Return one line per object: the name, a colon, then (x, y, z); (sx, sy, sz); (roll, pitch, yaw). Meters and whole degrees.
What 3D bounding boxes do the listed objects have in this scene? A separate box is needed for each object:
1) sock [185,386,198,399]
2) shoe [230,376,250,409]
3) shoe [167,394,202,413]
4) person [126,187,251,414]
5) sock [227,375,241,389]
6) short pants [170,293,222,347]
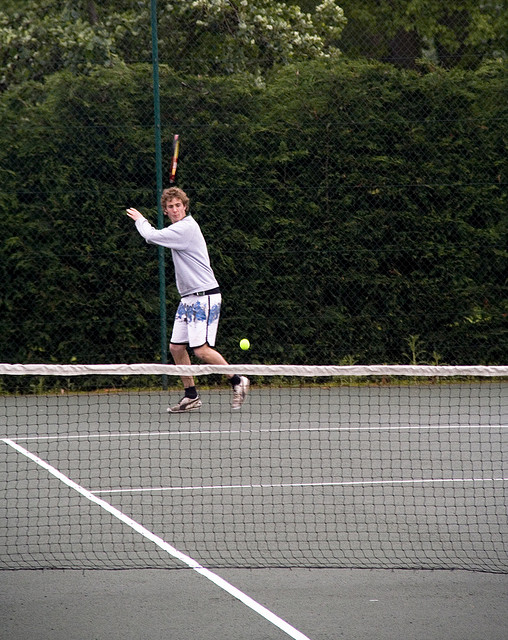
sock: (-0.534, 0.597, 9.061); (0.094, 0.113, 0.167); (-1, 8, -5)
shoe: (-0.136, 0.596, 8.844); (0.148, 0.314, 0.107); (5, 2, -40)
shoe: (-0.574, 0.703, 9.063); (0.327, 0.136, 0.117); (-5, 0, 4)
person: (-0.520, -0.109, 8.785); (0.931, 1.904, 0.851); (0, 9, 0)
sock: (-0.162, 0.496, 8.808); (0.087, 0.081, 0.076); (0, 0, -14)
short pants: (-0.485, -0.001, 8.951); (0.311, 0.517, 0.428); (20, -18, -38)
